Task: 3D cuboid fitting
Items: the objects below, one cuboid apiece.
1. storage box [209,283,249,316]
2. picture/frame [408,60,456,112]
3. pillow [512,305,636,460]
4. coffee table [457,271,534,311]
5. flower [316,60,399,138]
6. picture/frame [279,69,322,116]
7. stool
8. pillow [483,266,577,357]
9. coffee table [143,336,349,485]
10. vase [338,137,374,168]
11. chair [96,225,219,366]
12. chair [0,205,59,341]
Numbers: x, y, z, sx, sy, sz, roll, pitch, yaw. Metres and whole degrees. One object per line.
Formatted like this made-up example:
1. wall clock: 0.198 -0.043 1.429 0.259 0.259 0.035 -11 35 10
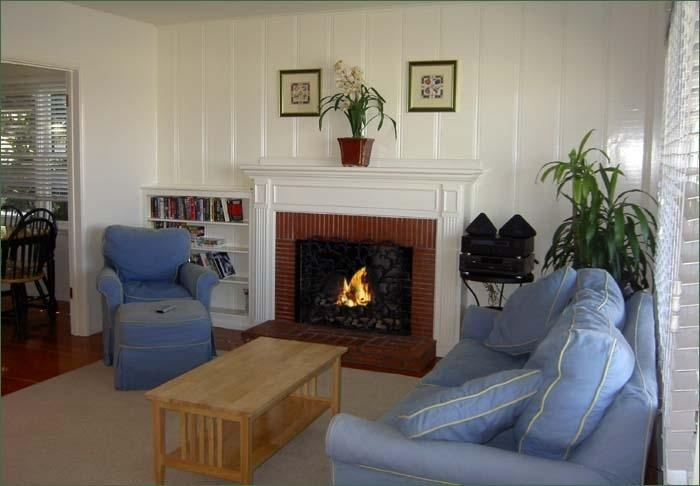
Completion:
1. storage box: -1.290 0.611 5.231 0.407 0.245 0.123 3 3 13
2. picture/frame: 0.791 -1.476 4.512 0.496 0.494 0.052 2 8 17
3. pillow: 1.029 0.528 2.183 0.477 0.395 1.078 12 12 28
4. coffee table: 1.239 0.455 4.179 0.417 0.430 0.427 5 -10 -22
5. flower: 0.047 -1.349 4.670 0.698 0.663 0.737 -6 15 -30
6. picture/frame: -0.479 -1.527 4.880 0.537 0.537 0.054 2 8 14
7. stool: -1.553 0.796 4.029 0.788 0.518 0.774 1 9 -29
8. pillow: 1.151 0.431 3.047 0.168 0.537 0.565 27 -6 -1
9. coffee table: -0.579 0.888 2.905 0.642 0.523 1.077 3 6 21
10. vase: 0.046 -0.847 4.535 0.339 0.270 0.279 1 1 7
11. chair: -1.778 0.418 4.407 1.093 1.053 1.024 3 8 -6
12. chair: -3.521 0.206 5.285 0.585 1.206 1.514 -5 12 -31
